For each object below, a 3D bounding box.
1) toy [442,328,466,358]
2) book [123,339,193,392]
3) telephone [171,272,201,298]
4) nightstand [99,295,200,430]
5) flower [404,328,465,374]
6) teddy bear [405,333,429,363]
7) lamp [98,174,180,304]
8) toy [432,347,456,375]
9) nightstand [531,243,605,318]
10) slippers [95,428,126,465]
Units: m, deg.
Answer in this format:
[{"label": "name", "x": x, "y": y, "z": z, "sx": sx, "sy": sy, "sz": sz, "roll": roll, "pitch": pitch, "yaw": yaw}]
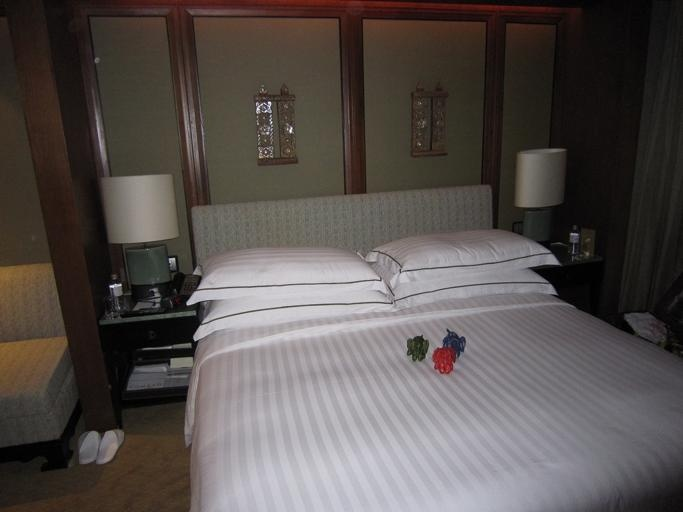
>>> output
[{"label": "toy", "x": 0.600, "y": 0.484, "z": 2.660, "sx": 0.109, "sy": 0.161, "sz": 0.067, "roll": -5, "pitch": -17, "yaw": -7}, {"label": "book", "x": -1.267, "y": 0.800, "z": 3.492, "sx": 0.450, "sy": 0.194, "sz": 0.332, "roll": -4, "pitch": 34, "yaw": -5}, {"label": "telephone", "x": -1.108, "y": 0.198, "z": 3.504, "sx": 0.180, "sy": 0.055, "sz": 0.189, "roll": 3, "pitch": 33, "yaw": -4}, {"label": "nightstand", "x": -1.379, "y": 0.765, "z": 3.523, "sx": 0.539, "sy": 0.808, "sz": 0.629, "roll": -6, "pitch": 7, "yaw": -28}, {"label": "flower", "x": 0.494, "y": 0.453, "z": 2.604, "sx": 0.220, "sy": 0.110, "sz": 0.226, "roll": -6, "pitch": 14, "yaw": -22}, {"label": "teddy bear", "x": 0.403, "y": 0.493, "z": 2.620, "sx": 0.096, "sy": 0.145, "sz": 0.056, "roll": 3, "pitch": -7, "yaw": 18}, {"label": "lamp", "x": -1.354, "y": -0.134, "z": 3.395, "sx": 0.478, "sy": 0.865, "sz": 0.361, "roll": -7, "pitch": 17, "yaw": -9}, {"label": "toy", "x": 0.519, "y": 0.532, "z": 2.518, "sx": 0.119, "sy": 0.172, "sz": 0.124, "roll": 1, "pitch": 6, "yaw": 1}, {"label": "nightstand", "x": 1.944, "y": 0.266, "z": 4.065, "sx": 0.388, "sy": 0.391, "sz": 0.522, "roll": -1, "pitch": -6, "yaw": 7}, {"label": "slippers", "x": -1.461, "y": 1.183, "z": 3.125, "sx": 0.137, "sy": 0.095, "sz": 0.333, "roll": 11, "pitch": 14, "yaw": -17}]
